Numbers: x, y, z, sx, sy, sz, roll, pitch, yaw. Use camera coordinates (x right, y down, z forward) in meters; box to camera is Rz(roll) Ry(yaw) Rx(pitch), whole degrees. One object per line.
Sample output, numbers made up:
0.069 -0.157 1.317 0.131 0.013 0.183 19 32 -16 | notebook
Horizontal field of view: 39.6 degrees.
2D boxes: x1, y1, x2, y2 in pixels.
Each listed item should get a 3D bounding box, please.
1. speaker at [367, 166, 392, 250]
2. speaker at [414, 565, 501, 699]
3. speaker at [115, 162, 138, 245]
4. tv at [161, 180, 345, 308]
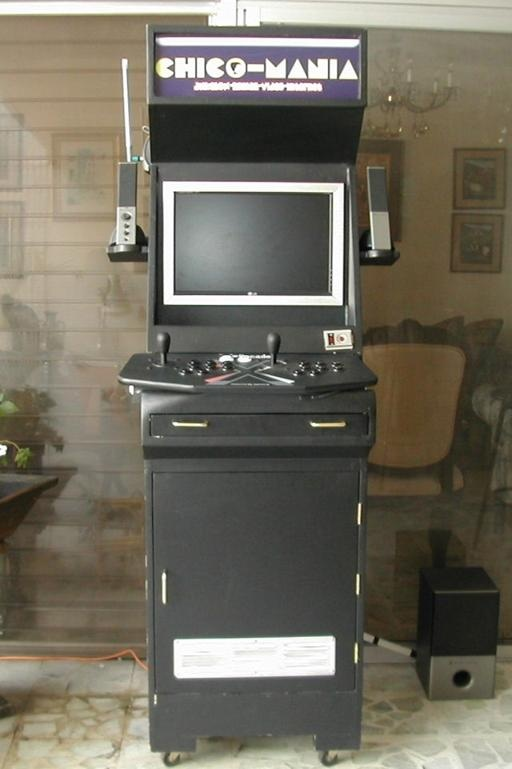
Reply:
0.386 -0.549 2.229 0.076 0.265 0.189 2 12 5 | speaker
0.720 0.878 2.522 0.290 0.401 0.295 3 12 11 | speaker
-0.404 -0.560 2.207 0.073 0.255 0.209 -2 12 -11 | speaker
-0.025 -0.426 2.118 0.398 0.271 0.016 0 0 -2 | tv
